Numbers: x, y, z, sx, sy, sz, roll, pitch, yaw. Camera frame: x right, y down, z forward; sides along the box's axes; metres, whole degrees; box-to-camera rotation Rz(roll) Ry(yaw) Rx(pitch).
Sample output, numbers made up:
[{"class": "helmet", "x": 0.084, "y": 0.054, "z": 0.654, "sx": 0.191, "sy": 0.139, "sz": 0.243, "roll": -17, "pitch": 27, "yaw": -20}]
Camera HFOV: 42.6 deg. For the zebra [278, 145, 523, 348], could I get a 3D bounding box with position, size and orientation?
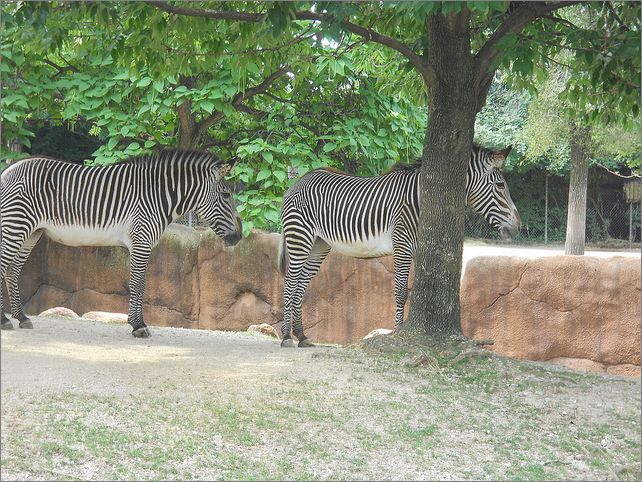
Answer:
[{"class": "zebra", "x": 0.895, "y": 0.089, "z": 10.592, "sx": 3.233, "sy": 2.576, "sz": 0.925, "roll": -1, "pitch": 0, "yaw": 12}]
